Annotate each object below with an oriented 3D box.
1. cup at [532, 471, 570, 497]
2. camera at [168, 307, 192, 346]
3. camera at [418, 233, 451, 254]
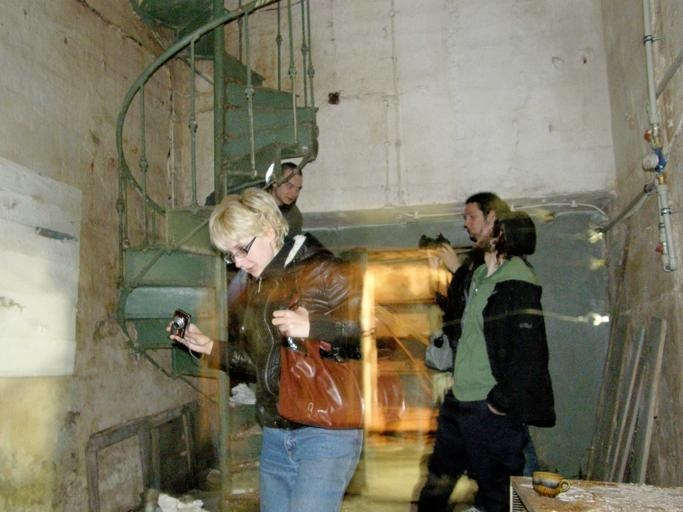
[{"bbox_3d":[1.117,1.229,4.233,0.152,0.094,0.124,-4,-20,19],"label":"cup"},{"bbox_3d":[-0.961,0.456,4.815,0.125,0.174,0.060,28,7,34],"label":"camera"},{"bbox_3d":[0.788,-0.124,6.770,0.188,0.153,0.087,1,-19,11],"label":"camera"}]
